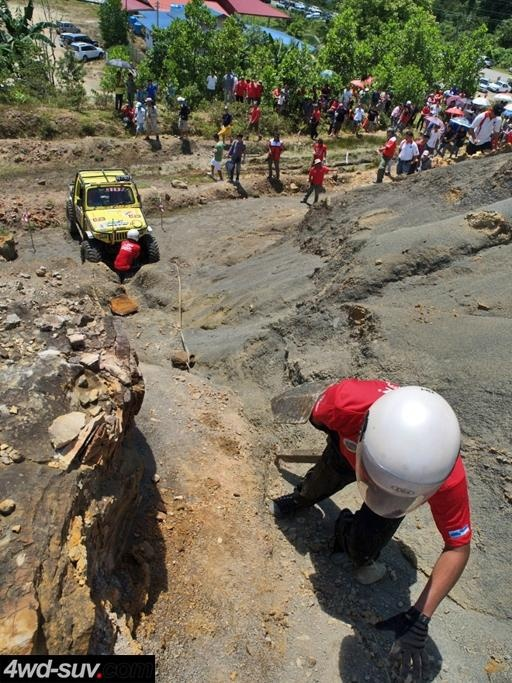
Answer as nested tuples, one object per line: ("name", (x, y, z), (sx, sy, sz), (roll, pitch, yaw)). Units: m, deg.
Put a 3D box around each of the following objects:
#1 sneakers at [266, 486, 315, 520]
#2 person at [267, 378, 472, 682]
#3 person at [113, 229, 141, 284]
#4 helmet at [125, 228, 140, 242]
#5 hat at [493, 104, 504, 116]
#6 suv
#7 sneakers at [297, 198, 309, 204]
("sneakers", (0.259, 1.300, 4.080), (0.434, 0.177, 0.166), (-11, 59, -12))
("person", (0.710, 1.250, 3.139), (0.860, 1.258, 1.240), (21, 67, 14))
("person", (-2.644, -1.803, 10.247), (0.539, 0.936, 1.052), (-4, 34, -13))
("helmet", (-2.512, -2.154, 10.156), (0.211, 0.231, 0.257), (14, 39, -12))
("hat", (5.551, -5.318, 11.535), (0.217, 0.254, 0.529), (16, 34, 16))
("suv", (-3.240, -2.886, 10.969), (1.412, 1.616, 2.628), (-10, 48, -21))
("sneakers", (1.385, -4.212, 14.972), (0.250, 0.144, 0.341), (3, 26, 8))
